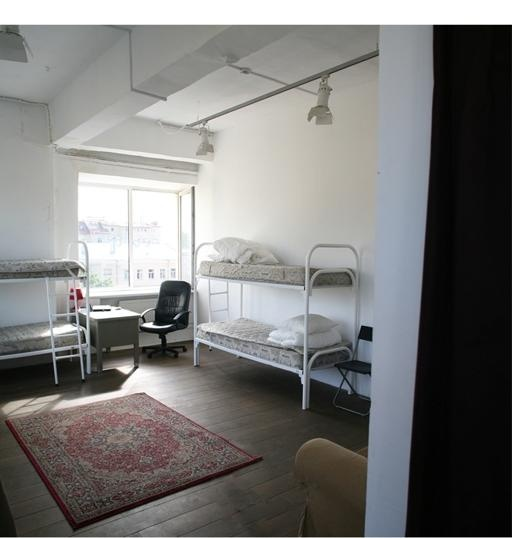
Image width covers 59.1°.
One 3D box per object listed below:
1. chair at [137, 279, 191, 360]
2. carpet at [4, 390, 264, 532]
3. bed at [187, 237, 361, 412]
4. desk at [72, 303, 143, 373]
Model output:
[{"bbox_3d":[-1.259,0.663,6.285,0.657,1.003,1.032,0,3,-14],"label":"chair"},{"bbox_3d":[-0.939,1.264,3.280,1.240,0.034,1.659,-1,3,-39],"label":"carpet"},{"bbox_3d":[0.240,0.594,4.796,0.626,1.272,1.606,-2,4,-37],"label":"bed"},{"bbox_3d":[-1.784,0.495,5.491,0.633,0.840,1.283,-2,5,-28],"label":"desk"}]
